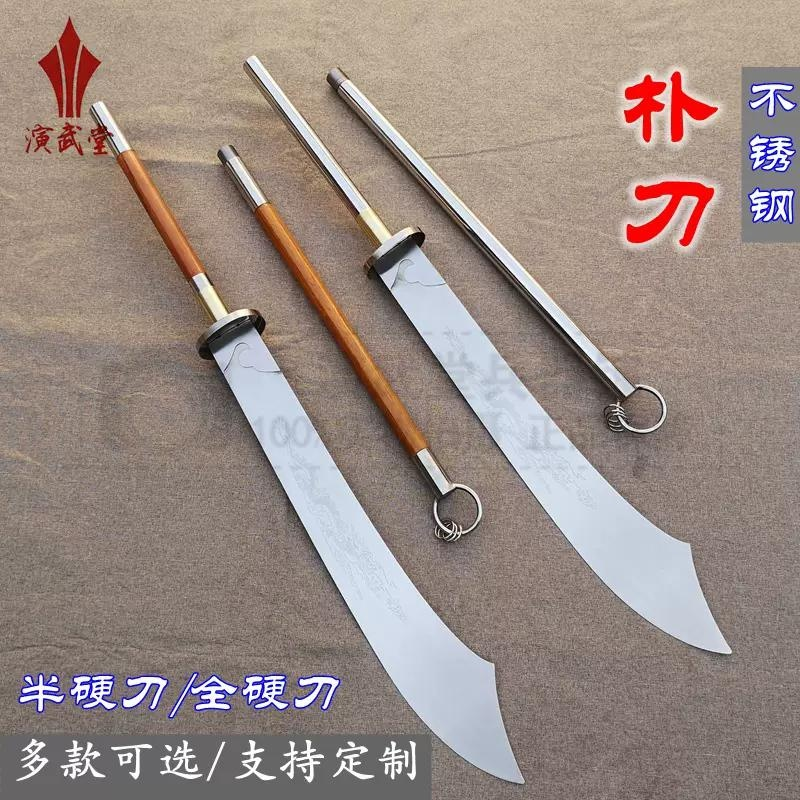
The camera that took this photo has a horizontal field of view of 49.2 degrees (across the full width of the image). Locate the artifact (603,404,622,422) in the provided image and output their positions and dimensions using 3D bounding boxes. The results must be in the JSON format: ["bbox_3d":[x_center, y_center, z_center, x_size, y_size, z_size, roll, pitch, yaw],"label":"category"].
[{"bbox_3d":[0.257,0.015,1.056,0.020,0.020,0.008,14,40,25],"label":"artifact"}]

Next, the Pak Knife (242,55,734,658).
[{"bbox_3d":[0.004,-0.202,1.214,0.181,0.095,1.232,-32,68,-12],"label":"Pak Knife"}]

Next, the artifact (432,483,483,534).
[{"bbox_3d":[0.059,0.135,1.008,0.061,0.020,0.061,6,57,9],"label":"artifact"}]

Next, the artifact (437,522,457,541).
[{"bbox_3d":[0.055,0.154,1.015,0.022,0.008,0.019,30,80,-6],"label":"artifact"}]

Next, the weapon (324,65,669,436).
[{"bbox_3d":[0.130,-0.178,1.145,0.108,0.065,0.642,-42,76,-12],"label":"weapon"}]

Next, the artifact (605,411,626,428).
[{"bbox_3d":[0.260,0.022,1.057,0.020,0.022,0.009,-8,20,36],"label":"artifact"}]

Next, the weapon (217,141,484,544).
[{"bbox_3d":[-0.063,-0.054,1.099,0.087,0.055,0.623,-31,70,-17],"label":"weapon"}]
